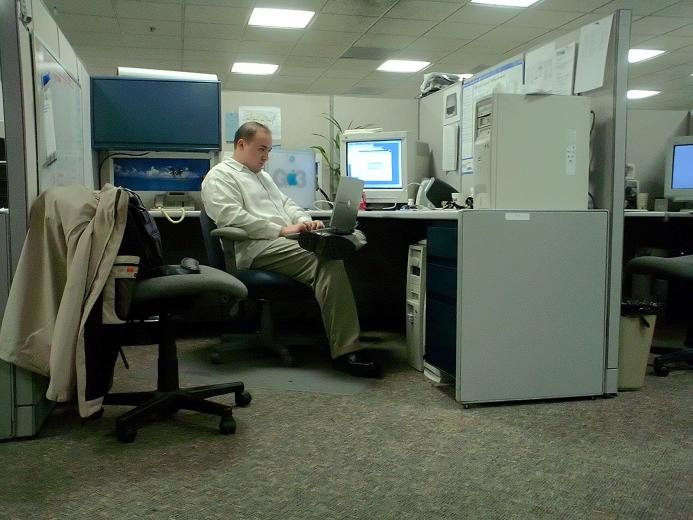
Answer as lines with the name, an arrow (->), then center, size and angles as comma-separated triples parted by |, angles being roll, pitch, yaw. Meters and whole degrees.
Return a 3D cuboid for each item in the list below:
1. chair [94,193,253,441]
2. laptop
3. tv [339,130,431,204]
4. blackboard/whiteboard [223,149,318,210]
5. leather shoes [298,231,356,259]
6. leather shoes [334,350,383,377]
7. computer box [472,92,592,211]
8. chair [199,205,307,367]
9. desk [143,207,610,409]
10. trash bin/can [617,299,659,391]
chair -> -0.726, 0.196, 2.417 | 0.675, 0.929, 0.627 | -2, -1, 23
laptop -> -0.110, -0.268, 2.915 | 0.295, 0.241, 0.344 | 8, 8, 25
tv -> 0.338, -0.624, 3.951 | 0.652, 0.436, 0.635 | -8, 13, -36
blackboard/whiteboard -> -0.471, -0.539, 3.861 | 0.344, 0.390, 0.451 | 8, 10, 39
leather shoes -> -0.093, -0.054, 2.822 | 0.195, 0.071, 0.151 | 6, 0, -26
leather shoes -> 0.056, 0.522, 2.918 | 0.267, 0.106, 0.106 | 0, 3, 31
computer box -> 0.834, -0.477, 2.552 | 0.625, 0.602, 0.372 | 1, 4, 0
chair -> -0.517, 0.072, 3.192 | 0.622, 0.887, 0.688 | -7, 2, -10
desk -> -0.054, 0.199, 2.900 | 2.300, 1.013, 0.875 | -2, 11, 0
trash bin/can -> 1.356, 0.410, 2.734 | 0.201, 0.407, 0.124 | 0, 11, -2
